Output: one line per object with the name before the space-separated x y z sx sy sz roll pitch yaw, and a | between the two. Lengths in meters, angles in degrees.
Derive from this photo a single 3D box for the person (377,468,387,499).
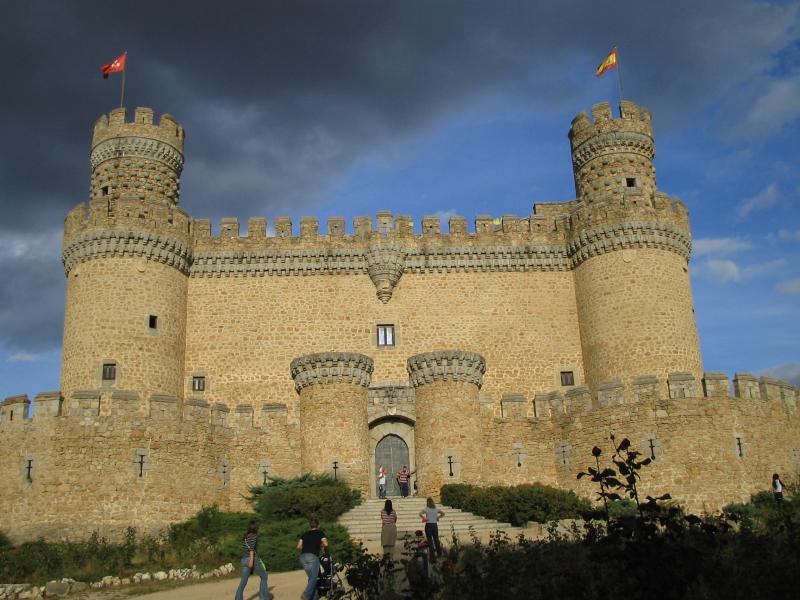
person | -0.633 6.193 27.732 0.316 1.046 0.876 -2 -17 -2

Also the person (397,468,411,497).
person | 0.143 6.138 27.606 0.465 1.061 0.904 -2 -17 -1

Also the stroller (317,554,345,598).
stroller | -1.554 5.995 17.776 0.612 1.071 0.883 1 0 -2
